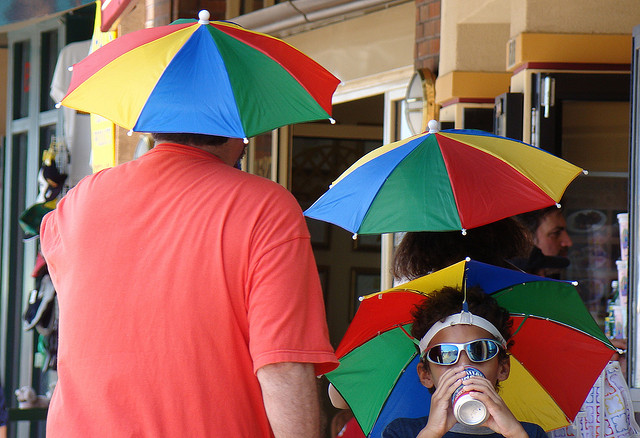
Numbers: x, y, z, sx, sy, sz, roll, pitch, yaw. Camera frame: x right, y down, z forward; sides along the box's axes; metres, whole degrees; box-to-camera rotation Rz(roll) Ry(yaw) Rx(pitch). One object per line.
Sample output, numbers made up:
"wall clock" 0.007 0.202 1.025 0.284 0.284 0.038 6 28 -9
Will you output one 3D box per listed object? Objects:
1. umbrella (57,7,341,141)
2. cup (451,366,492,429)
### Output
"umbrella" -0.681 -0.798 7.200 1.491 0.786 0.466 -3 -6 0
"cup" 0.818 0.979 7.041 0.238 0.246 0.419 5 20 -5
